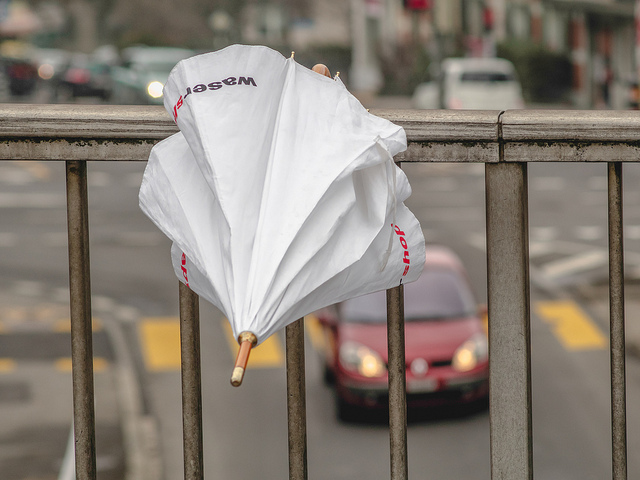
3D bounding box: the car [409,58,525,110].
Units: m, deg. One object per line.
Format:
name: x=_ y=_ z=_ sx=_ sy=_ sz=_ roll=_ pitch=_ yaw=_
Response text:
car: x=4.747 y=-4.123 z=51.531 sx=2.241 sy=2.387 sz=4.582 roll=-2 pitch=0 yaw=-8
